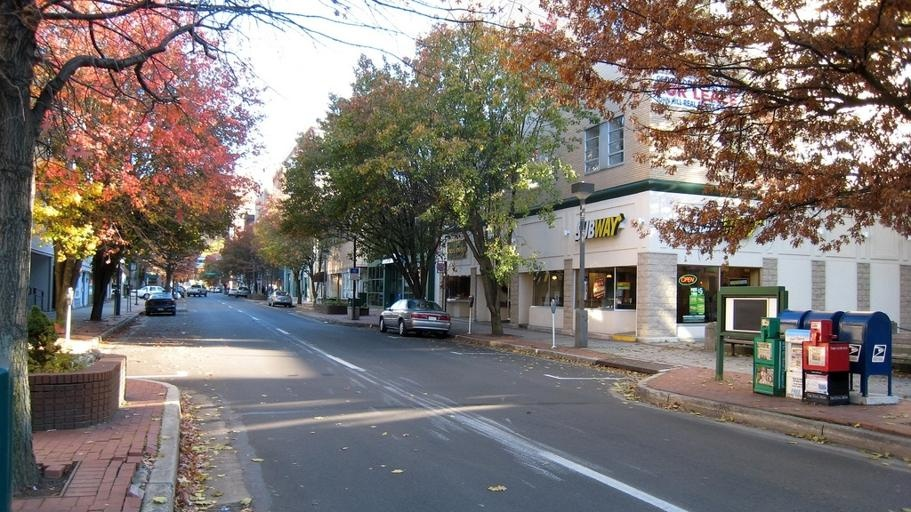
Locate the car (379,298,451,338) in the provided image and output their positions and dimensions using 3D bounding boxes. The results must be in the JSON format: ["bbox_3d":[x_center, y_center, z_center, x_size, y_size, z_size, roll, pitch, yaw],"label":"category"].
[{"bbox_3d":[-2.053,2.864,33.074,1.526,0.978,3.339,5,-3,-22],"label":"car"}]

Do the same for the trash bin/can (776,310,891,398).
[{"bbox_3d":[9.311,2.496,17.530,2.231,2.187,2.378,4,-9,-20],"label":"trash bin/can"}]

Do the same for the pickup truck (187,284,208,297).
[{"bbox_3d":[-40.790,5.711,112.924,2.323,1.729,4.975,2,-1,-20],"label":"pickup truck"}]

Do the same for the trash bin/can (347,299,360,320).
[{"bbox_3d":[-6.550,3.520,45.971,0.409,0.995,1.148,2,-12,-14],"label":"trash bin/can"}]

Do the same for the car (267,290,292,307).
[{"bbox_3d":[-16.552,4.075,67.406,1.925,1.662,3.733,0,-7,-17],"label":"car"}]
